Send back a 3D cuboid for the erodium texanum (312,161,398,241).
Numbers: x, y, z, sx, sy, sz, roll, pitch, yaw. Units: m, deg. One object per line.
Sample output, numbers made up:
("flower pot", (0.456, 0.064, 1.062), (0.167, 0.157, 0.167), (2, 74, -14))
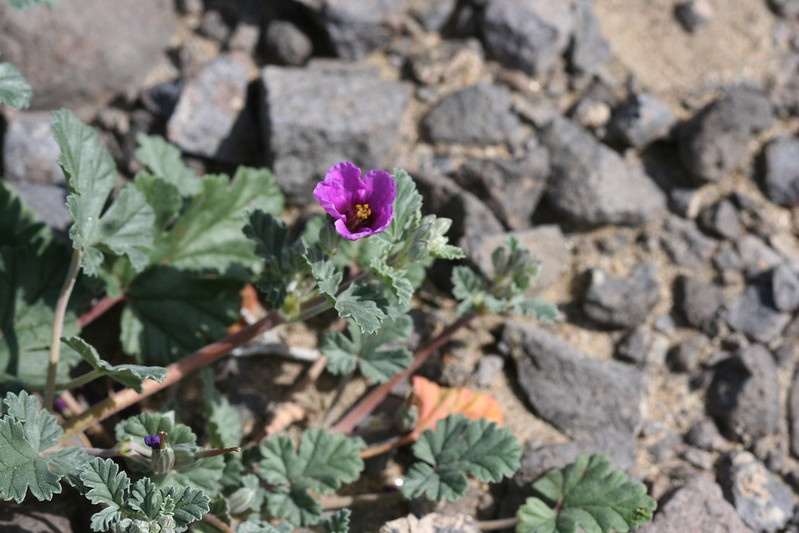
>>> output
("erodium texanum", (-0.271, -0.427, 5.924), (0.480, 0.279, 0.508), (-13, 18, 16))
